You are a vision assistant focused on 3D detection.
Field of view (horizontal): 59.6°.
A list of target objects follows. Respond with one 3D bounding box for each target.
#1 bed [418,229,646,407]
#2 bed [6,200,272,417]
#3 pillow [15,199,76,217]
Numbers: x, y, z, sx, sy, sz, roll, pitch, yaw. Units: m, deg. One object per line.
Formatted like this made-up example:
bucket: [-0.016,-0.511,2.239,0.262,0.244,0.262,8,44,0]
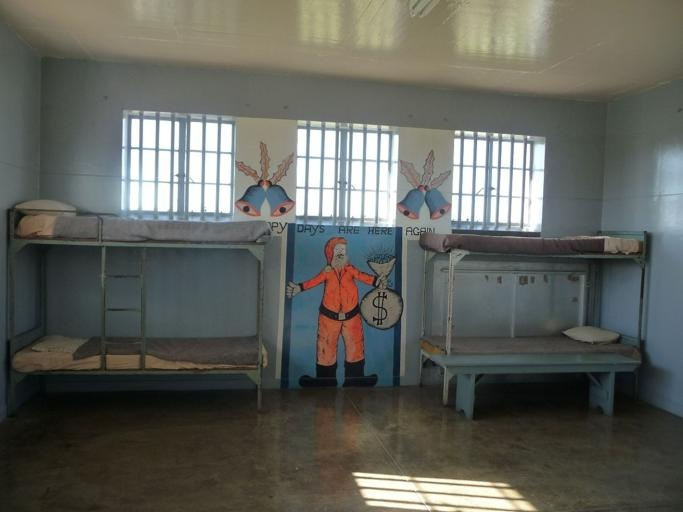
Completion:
bed: [2.827,0.931,9.018,3.241,2.627,1.241,2,2,-13]
bed: [-2.939,0.729,8.217,2.932,2.436,1.351,1,-3,-13]
pillow: [-3.893,-0.636,7.852,0.725,0.228,0.434,-5,15,-26]
